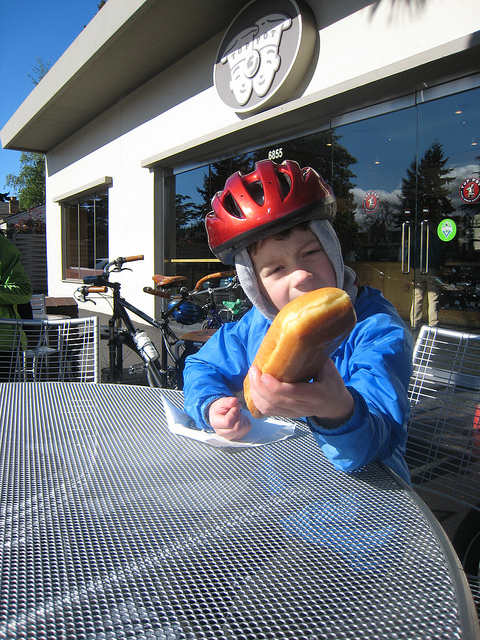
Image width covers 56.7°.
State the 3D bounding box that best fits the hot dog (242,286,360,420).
[{"bbox_3d":[0.091,0.024,0.628,0.109,0.072,0.218,-19,-24,-25],"label":"hot dog"}]

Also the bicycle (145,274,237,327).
[{"bbox_3d":[-0.467,-0.165,3.985,0.592,0.524,0.601,1,0,41],"label":"bicycle"}]

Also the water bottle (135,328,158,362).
[{"bbox_3d":[-0.615,0.172,2.873,0.132,0.193,0.281,-1,5,-19],"label":"water bottle"}]
